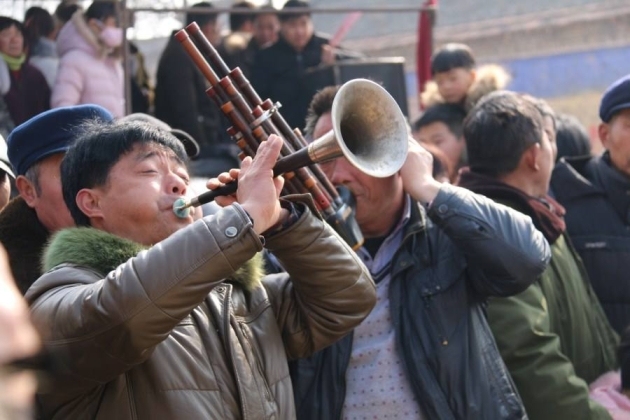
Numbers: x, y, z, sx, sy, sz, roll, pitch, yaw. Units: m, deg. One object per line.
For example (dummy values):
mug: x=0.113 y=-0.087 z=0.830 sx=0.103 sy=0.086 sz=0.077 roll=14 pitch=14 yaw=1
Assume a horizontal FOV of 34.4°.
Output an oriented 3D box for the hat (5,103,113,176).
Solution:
hat: x=-1.790 y=-0.523 z=7.129 sx=0.625 sy=0.252 sz=0.503 roll=-27 pitch=-2 yaw=-2
